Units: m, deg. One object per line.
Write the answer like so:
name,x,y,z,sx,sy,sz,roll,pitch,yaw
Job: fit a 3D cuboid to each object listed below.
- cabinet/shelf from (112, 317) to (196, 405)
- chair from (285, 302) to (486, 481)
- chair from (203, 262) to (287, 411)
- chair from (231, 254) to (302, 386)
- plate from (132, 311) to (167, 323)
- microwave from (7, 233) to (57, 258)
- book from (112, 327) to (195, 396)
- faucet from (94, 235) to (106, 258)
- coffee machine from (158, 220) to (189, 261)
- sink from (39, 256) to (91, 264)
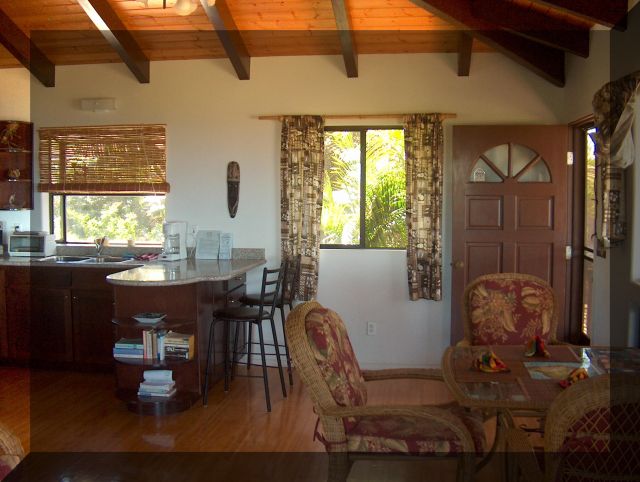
cabinet/shelf,-1.376,1.040,4.081,0.717,0.685,0.526,-1,-1,7
chair,0.363,0.699,2.804,1.054,1.081,0.759,-2,4,5
chair,-0.633,0.823,4.331,0.687,1.156,0.652,0,-3,0
chair,-0.578,0.755,4.430,0.476,1.044,0.463,4,12,26
plate,-1.408,0.630,4.028,0.277,0.069,0.165,0,9,1
microwave,-2.993,0.038,5.089,0.380,0.233,0.264,1,-2,0
book,-1.383,1.005,4.031,0.679,0.539,0.298,0,9,5
faucet,-2.330,0.058,5.246,0.112,0.195,0.296,-4,10,-23
coffee machine,-1.409,0.004,4.823,0.130,0.381,0.276,6,11,36
sink,-2.589,0.198,5.054,0.237,0.088,0.198,1,3,7
